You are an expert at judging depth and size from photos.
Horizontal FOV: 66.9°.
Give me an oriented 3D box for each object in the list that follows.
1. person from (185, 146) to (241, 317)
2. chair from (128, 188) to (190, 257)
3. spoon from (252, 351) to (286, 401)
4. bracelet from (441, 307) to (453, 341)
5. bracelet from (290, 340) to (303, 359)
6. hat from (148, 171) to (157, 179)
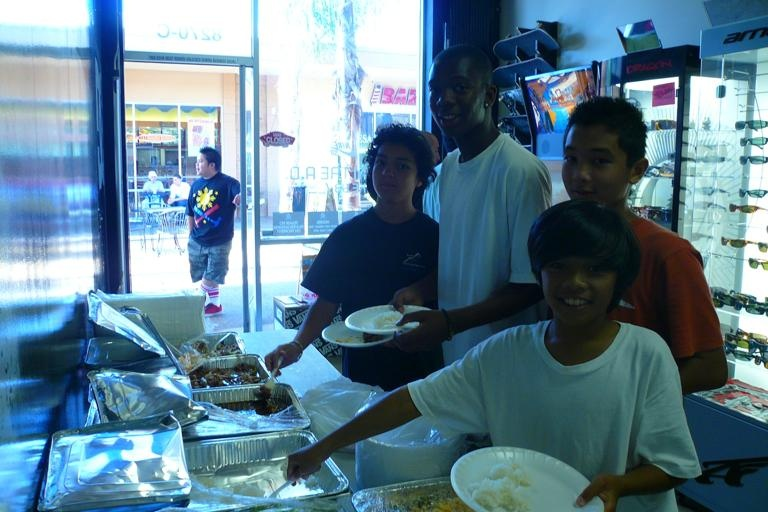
[{"bbox_3d":[-1.819,-0.255,6.256,0.635,1.831,0.297,3,8,29],"label":"person"},{"bbox_3d":[-2.475,-0.441,6.536,0.644,0.853,0.659,-4,20,-24],"label":"chair"},{"bbox_3d":[-0.486,0.534,2.527,0.071,0.164,0.132,4,8,33],"label":"spoon"},{"bbox_3d":[0.245,0.261,2.222,0.024,0.093,0.069,-8,-13,4],"label":"bracelet"},{"bbox_3d":[-0.387,0.430,2.629,0.027,0.070,0.056,-37,35,-20],"label":"bracelet"},{"bbox_3d":[-2.451,-0.871,6.191,0.065,0.057,0.075,0,-4,-7],"label":"hat"}]
